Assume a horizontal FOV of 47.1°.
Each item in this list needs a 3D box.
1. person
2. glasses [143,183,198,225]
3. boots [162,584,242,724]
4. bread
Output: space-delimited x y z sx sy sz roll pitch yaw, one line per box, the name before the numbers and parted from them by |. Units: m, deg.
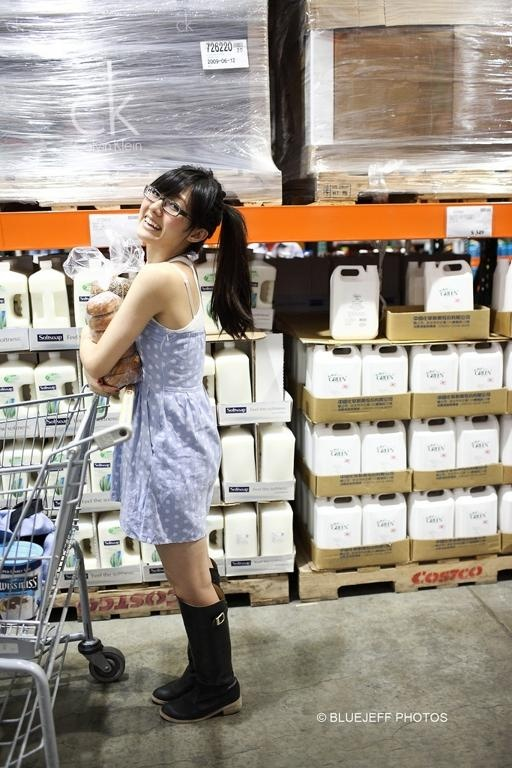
person | -0.225 0.261 1.642 0.394 1.647 0.556 -1 6 13
glasses | -0.219 -0.443 1.428 0.093 0.028 0.096 33 -4 13
boots | -0.177 0.854 1.845 0.261 0.360 0.156 -2 -5 -11
bread | -0.348 -0.119 1.487 0.157 0.259 0.100 -14 29 -30
